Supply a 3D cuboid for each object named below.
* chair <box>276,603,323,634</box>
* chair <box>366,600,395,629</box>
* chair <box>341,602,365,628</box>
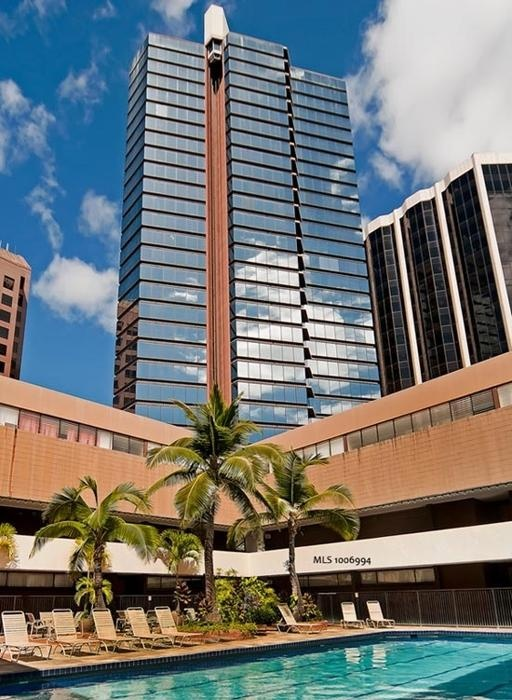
[{"bbox_3d":[1.386,9.516,18.744,1.611,1.113,0.953,-17,-47,20],"label":"chair"},{"bbox_3d":[4.727,10.098,20.475,0.864,0.936,2.012,-7,-20,7],"label":"chair"},{"bbox_3d":[3.745,10.433,21.075,0.750,0.973,1.402,4,-17,-6],"label":"chair"}]
